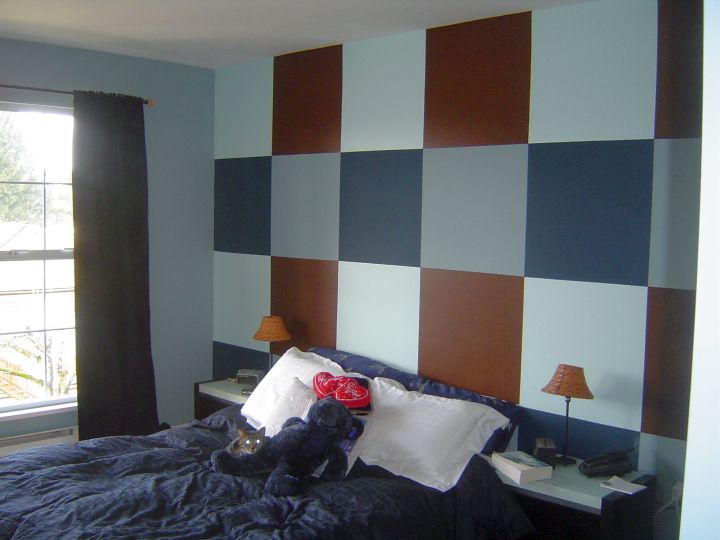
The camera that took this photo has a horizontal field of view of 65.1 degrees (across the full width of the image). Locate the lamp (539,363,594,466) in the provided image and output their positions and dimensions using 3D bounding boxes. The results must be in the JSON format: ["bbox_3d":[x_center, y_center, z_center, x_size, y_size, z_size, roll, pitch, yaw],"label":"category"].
[{"bbox_3d":[1.179,0.814,3.202,0.272,0.561,0.272,3,4,24],"label":"lamp"}]

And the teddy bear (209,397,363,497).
[{"bbox_3d":[-0.318,0.958,3.127,0.607,0.260,0.429,-10,23,-42],"label":"teddy bear"}]

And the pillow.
[{"bbox_3d":[0.029,0.855,3.341,1.126,0.289,0.739,18,40,16],"label":"pillow"}]

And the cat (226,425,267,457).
[{"bbox_3d":[-0.644,0.967,3.180,0.118,0.139,0.195,12,-11,-30],"label":"cat"}]

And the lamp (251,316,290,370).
[{"bbox_3d":[-0.705,0.613,4.466,0.261,0.539,0.291,4,15,8],"label":"lamp"}]

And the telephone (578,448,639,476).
[{"bbox_3d":[1.346,1.009,3.069,0.238,0.105,0.152,-7,7,-7],"label":"telephone"}]

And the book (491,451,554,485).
[{"bbox_3d":[0.852,1.067,3.056,0.173,0.046,0.176,1,8,-36],"label":"book"}]
